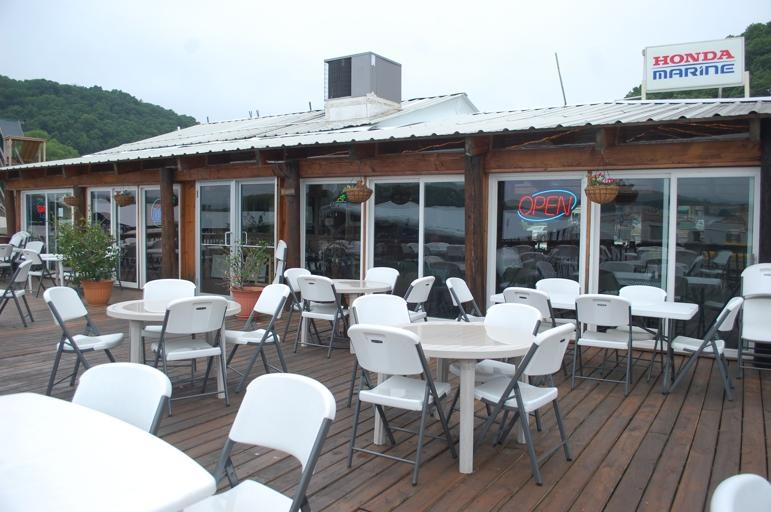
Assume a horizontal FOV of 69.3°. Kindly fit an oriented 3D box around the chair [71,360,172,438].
[{"bbox_3d":[-1.632,0.846,3.695,0.471,0.611,0.499,12,-1,7],"label":"chair"}]

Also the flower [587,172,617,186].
[{"bbox_3d":[2.783,-1.000,7.275,0.382,0.181,0.305,4,8,35],"label":"flower"}]

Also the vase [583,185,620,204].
[{"bbox_3d":[2.748,-0.786,7.126,0.199,0.230,0.353,-8,8,-39],"label":"vase"}]

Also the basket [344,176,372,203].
[{"bbox_3d":[-0.443,-1.015,8.834,0.456,0.404,0.419,0,1,29],"label":"basket"}]
